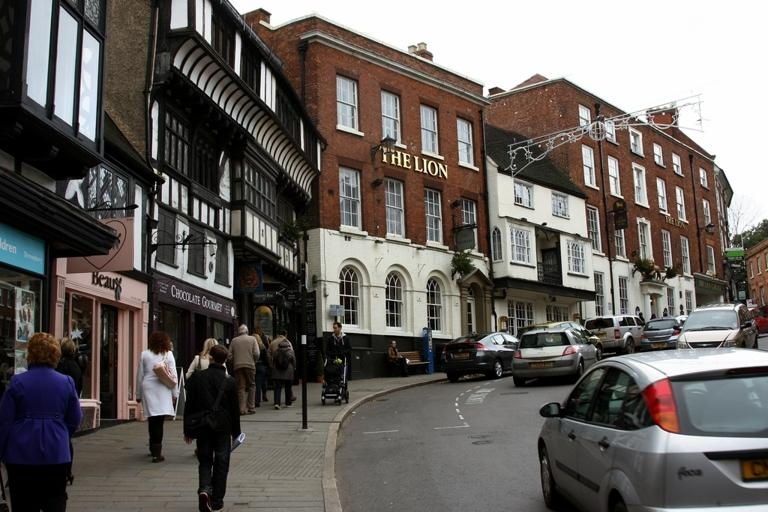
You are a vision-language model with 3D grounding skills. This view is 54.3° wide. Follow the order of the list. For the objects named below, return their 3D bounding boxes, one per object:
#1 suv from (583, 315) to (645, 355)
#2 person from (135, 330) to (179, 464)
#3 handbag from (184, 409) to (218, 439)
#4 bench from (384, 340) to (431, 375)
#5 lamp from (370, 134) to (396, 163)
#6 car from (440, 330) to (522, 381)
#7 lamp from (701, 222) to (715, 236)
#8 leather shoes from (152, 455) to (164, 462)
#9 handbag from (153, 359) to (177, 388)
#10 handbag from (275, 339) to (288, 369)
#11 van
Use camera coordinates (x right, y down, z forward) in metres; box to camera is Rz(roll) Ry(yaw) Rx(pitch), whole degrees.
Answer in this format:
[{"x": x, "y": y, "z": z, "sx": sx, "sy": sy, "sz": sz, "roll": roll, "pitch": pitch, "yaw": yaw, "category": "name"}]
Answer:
[{"x": 10.986, "y": 3.422, "z": 34.866, "sx": 1.741, "sy": 1.411, "sz": 3.222, "roll": -3, "pitch": 0, "yaw": 35, "category": "suv"}, {"x": -4.217, "y": 2.539, "z": 13.879, "sx": 0.696, "sy": 2.438, "sz": 0.651, "roll": 2, "pitch": -14, "yaw": -25, "category": "person"}, {"x": -2.650, "y": 2.374, "z": 10.691, "sx": 0.440, "sy": 0.371, "sz": 0.170, "roll": -11, "pitch": -36, "yaw": 0, "category": "handbag"}, {"x": 1.127, "y": 4.737, "z": 33.871, "sx": 0.727, "sy": 0.925, "sz": 2.241, "roll": -6, "pitch": -9, "yaw": 36, "category": "bench"}, {"x": -0.096, "y": -5.063, "z": 34.435, "sx": 0.875, "sy": 0.868, "sz": 1.342, "roll": 5, "pitch": -22, "yaw": -33, "category": "lamp"}, {"x": 3.447, "y": 3.641, "z": 27.616, "sx": 1.385, "sy": 1.158, "sz": 3.090, "roll": -5, "pitch": -4, "yaw": 31, "category": "car"}, {"x": 27.443, "y": -2.326, "z": 63.481, "sx": 0.949, "sy": 0.622, "sz": 1.530, "roll": -11, "pitch": -12, "yaw": 15, "category": "lamp"}, {"x": -4.061, "y": 3.614, "z": 13.426, "sx": 0.247, "sy": 0.108, "sz": 0.209, "roll": 7, "pitch": -18, "yaw": -36, "category": "leather shoes"}, {"x": -4.078, "y": 2.173, "z": 13.841, "sx": 0.139, "sy": 0.430, "sz": 0.434, "roll": -35, "pitch": -49, "yaw": 4, "category": "handbag"}, {"x": -2.784, "y": 2.696, "z": 20.407, "sx": 0.279, "sy": 0.757, "sz": 0.429, "roll": 9, "pitch": -19, "yaw": -44, "category": "handbag"}, {"x": 12.239, "y": 2.476, "z": 27.489, "sx": 2.279, "sy": 1.931, "sz": 3.877, "roll": -7, "pitch": -16, "yaw": 28, "category": "van"}]
